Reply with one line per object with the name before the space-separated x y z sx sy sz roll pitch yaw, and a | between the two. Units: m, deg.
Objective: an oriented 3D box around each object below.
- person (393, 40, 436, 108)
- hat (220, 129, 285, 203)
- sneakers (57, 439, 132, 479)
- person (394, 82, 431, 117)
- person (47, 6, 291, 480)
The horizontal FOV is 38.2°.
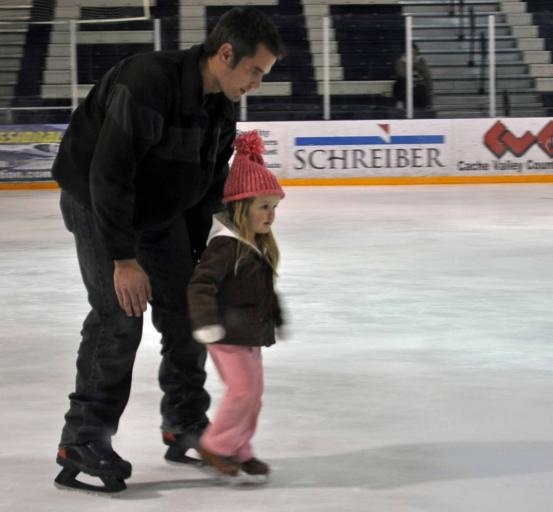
person | 2.498 -3.101 13.859 0.962 1.042 0.334 2 -7 -31
hat | -0.068 -0.267 2.378 0.224 0.175 0.212 -2 12 28
sneakers | -0.508 0.560 2.270 0.288 0.093 0.113 0 3 35
person | 2.392 -2.749 13.858 0.679 0.700 0.568 2 13 7
person | -0.352 -0.013 2.325 0.675 1.387 0.431 -5 16 -21
